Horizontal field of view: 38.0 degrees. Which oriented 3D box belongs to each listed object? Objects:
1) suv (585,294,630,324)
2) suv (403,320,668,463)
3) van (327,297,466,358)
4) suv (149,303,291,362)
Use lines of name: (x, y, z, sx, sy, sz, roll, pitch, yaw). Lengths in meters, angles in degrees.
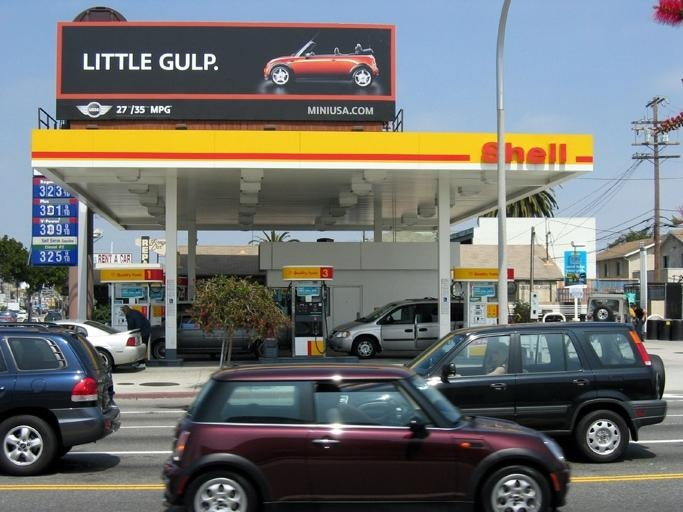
suv: (11.731, 2.343, 43.505, 1.979, 1.992, 3.465, 0, 2, 13)
suv: (2.967, 2.360, 18.141, 5.693, 2.444, 2.813, -1, 4, -1)
van: (2.074, 2.212, 33.023, 4.808, 2.014, 2.344, 1, 9, -7)
suv: (-3.914, 2.485, 32.633, 5.014, 1.645, 2.284, -4, 1, 12)
